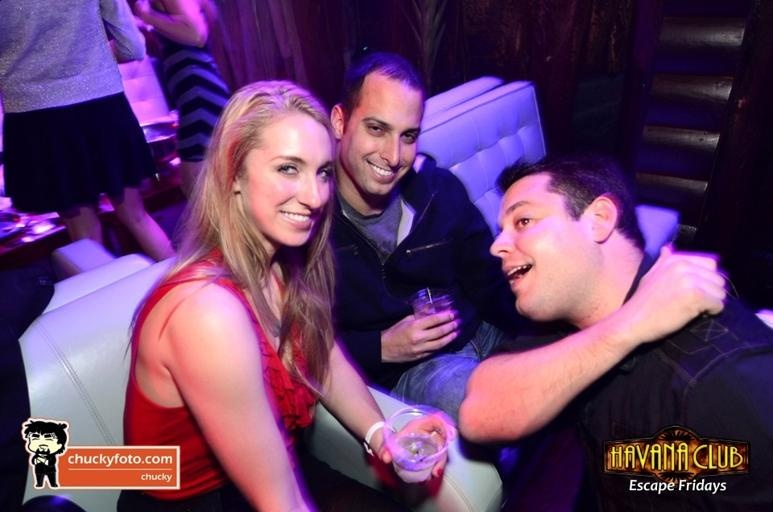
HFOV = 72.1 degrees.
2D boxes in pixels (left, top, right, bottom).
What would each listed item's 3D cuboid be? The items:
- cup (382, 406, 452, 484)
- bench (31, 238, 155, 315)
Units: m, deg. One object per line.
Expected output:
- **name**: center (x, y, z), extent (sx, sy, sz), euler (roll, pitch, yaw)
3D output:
- **cup**: center (0.125, 0.764, 2.250), extent (0.271, 0.204, 0.295), euler (1, 30, -1)
- **bench**: center (-1.395, 0.143, 2.482), extent (0.359, 0.296, 0.374), euler (2, 25, 32)
